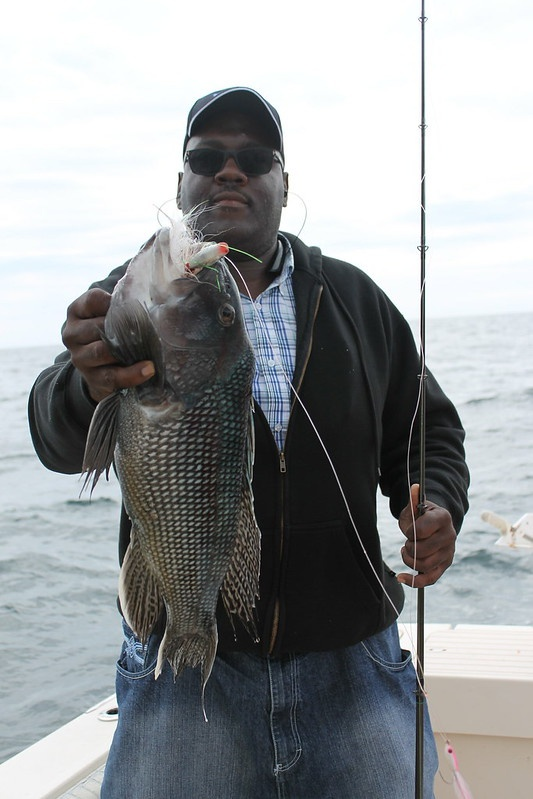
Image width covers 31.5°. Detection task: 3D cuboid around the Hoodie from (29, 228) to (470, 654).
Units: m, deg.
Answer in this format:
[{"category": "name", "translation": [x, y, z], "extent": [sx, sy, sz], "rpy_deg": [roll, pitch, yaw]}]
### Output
[{"category": "Hoodie", "translation": [-0.054, 0.068, 2.978], "extent": [1.455, 1.125, 0.647], "rpy_deg": [-2, 4, -14]}]
